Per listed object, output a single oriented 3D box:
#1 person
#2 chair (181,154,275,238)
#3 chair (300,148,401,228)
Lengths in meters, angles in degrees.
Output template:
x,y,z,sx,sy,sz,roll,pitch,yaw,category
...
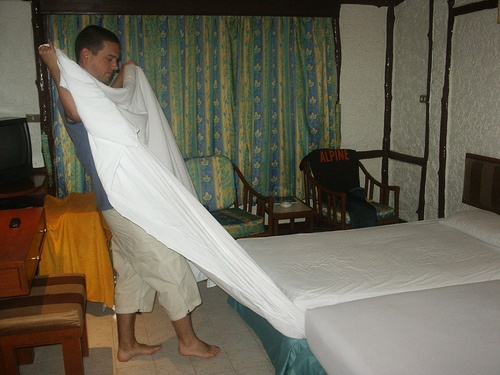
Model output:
x,y,z,sx,sy,sz,roll,pitch,yaw,category
-0.722,0.093,2.581,0.858,2.169,0.490,-4,8,-10,person
-0.221,0.220,3.963,0.666,1.027,0.749,-8,14,-38,chair
1.042,0.094,4.343,0.775,1.040,0.848,-7,13,-15,chair
